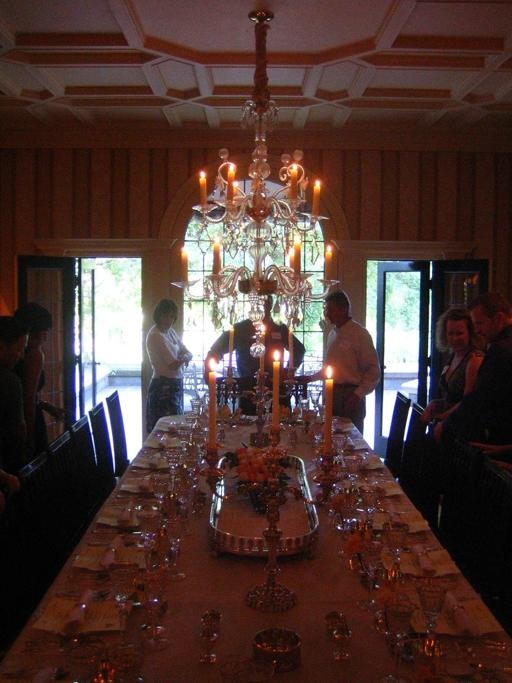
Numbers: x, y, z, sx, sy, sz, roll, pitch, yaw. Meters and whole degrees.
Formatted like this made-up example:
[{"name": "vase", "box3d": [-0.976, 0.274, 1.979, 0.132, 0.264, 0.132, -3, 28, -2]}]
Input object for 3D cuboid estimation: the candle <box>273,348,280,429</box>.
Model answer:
[{"name": "candle", "box3d": [0.059, 0.147, 1.615, 0.024, 0.214, 0.024, 4, -6, -37]}]
